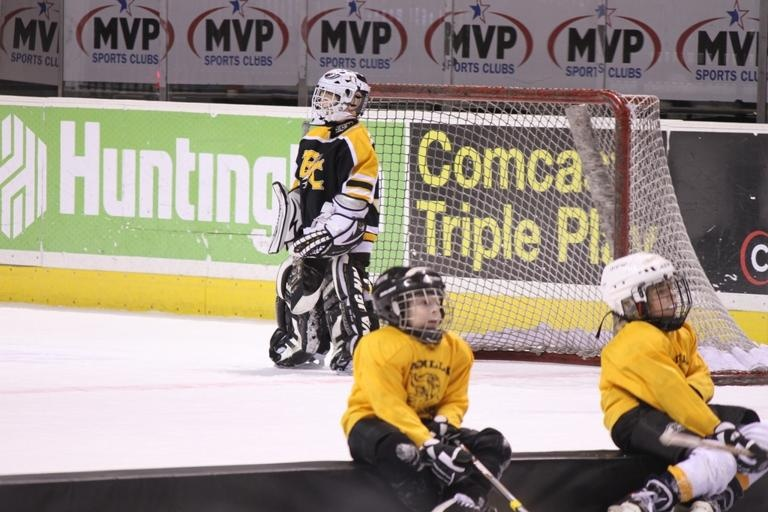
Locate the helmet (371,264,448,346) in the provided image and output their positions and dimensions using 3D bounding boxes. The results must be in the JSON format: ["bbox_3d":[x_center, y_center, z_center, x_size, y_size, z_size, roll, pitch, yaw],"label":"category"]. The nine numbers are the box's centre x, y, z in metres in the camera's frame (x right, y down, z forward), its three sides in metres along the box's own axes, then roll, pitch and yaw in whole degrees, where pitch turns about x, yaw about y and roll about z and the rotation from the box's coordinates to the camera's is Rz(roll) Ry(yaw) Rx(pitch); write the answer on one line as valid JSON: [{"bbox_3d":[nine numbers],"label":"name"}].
[{"bbox_3d":[0.172,0.315,10.159,0.532,0.499,0.414,-16,-9,42],"label":"helmet"}]

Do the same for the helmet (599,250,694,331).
[{"bbox_3d":[1.855,0.271,10.343,0.617,0.582,0.488,-20,-12,40],"label":"helmet"}]

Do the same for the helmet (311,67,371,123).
[{"bbox_3d":[-0.342,-1.295,11.772,0.513,0.443,0.428,-6,13,-42],"label":"helmet"}]

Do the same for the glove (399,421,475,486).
[{"bbox_3d":[0.374,1.335,9.848,0.437,0.466,0.207,13,26,13],"label":"glove"}]
